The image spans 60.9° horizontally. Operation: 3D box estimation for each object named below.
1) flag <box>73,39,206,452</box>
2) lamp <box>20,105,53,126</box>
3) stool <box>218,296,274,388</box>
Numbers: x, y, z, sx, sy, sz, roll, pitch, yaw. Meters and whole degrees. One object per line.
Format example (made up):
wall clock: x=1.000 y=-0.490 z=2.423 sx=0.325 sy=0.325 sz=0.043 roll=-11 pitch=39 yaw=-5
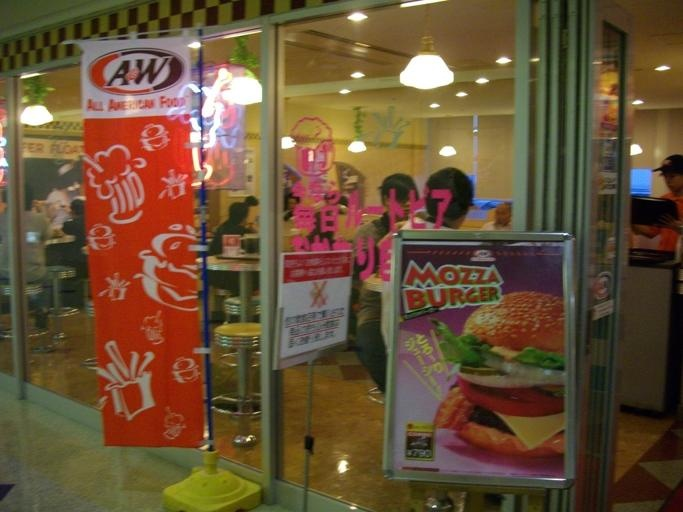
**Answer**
flag: x=-1.098 y=-0.034 z=3.209 sx=0.696 sy=2.267 sz=0.379 roll=1 pitch=12 yaw=4
lamp: x=-2.299 y=-1.055 z=4.427 sx=0.278 sy=0.186 sz=0.070 roll=6 pitch=12 yaw=16
stool: x=-0.575 y=0.496 z=3.446 sx=0.322 sy=0.450 sz=0.314 roll=-6 pitch=11 yaw=-44
